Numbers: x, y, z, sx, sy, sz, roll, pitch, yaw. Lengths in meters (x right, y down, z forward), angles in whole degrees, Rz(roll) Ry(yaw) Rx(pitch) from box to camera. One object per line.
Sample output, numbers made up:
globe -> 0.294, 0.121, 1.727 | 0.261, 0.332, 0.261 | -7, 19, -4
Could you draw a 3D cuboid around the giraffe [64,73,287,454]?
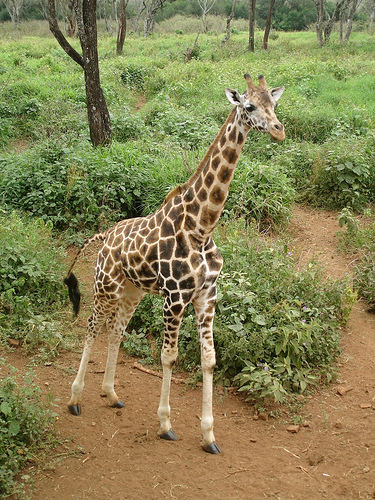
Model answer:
giraffe -> -0.129, 0.155, 3.785 | 1.527, 2.791, 0.872 | 10, 25, 20
